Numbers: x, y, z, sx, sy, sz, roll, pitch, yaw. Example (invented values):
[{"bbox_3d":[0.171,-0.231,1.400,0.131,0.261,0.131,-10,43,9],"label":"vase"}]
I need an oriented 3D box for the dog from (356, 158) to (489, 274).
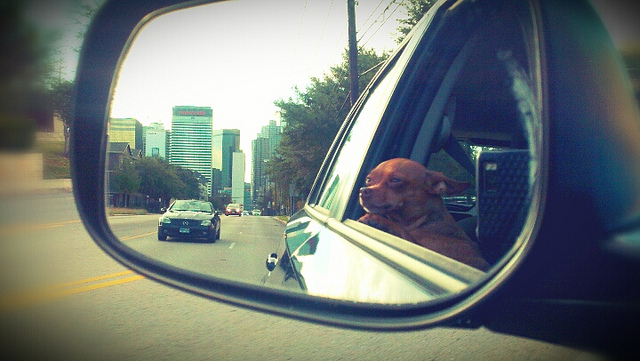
[{"bbox_3d":[0.706,0.200,3.679,1.150,0.463,0.631,22,-2,-32],"label":"dog"}]

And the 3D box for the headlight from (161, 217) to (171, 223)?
[{"bbox_3d":[-1.972,0.500,7.103,0.110,0.054,0.178,2,2,-19],"label":"headlight"}]

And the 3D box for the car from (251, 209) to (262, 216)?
[{"bbox_3d":[-11.623,5.806,100.369,1.167,1.102,2.341,-1,-6,-8],"label":"car"}]

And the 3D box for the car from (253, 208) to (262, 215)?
[{"bbox_3d":[-11.356,5.646,99.771,1.133,0.899,2.347,-2,-6,-3],"label":"car"}]
